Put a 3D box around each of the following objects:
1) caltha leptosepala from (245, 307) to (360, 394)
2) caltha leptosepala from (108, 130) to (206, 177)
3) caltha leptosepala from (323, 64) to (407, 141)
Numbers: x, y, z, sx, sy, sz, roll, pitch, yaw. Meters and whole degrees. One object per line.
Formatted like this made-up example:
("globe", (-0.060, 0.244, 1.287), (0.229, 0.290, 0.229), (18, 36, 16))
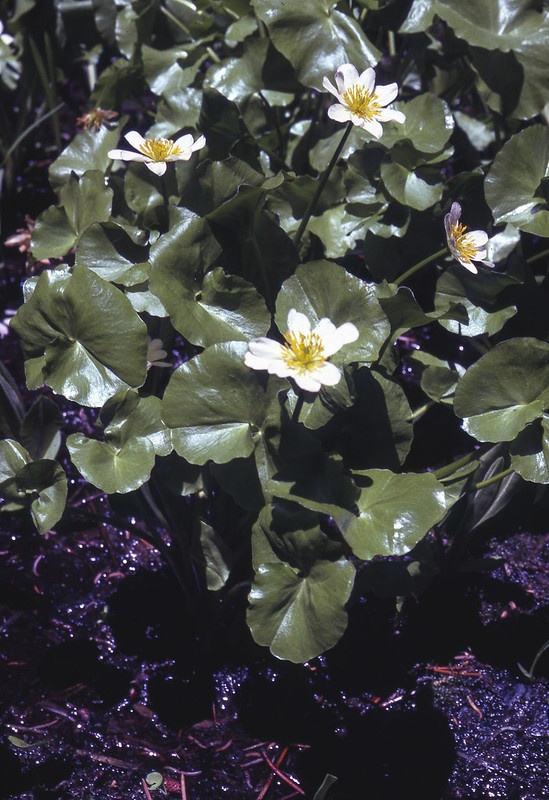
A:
("caltha leptosepala", (0.049, -0.082, 1.307), (0.163, 0.063, 0.158), (-31, 52, -17))
("caltha leptosepala", (-0.221, -0.494, 1.508), (0.164, 0.051, 0.164), (18, 34, 34))
("caltha leptosepala", (0.149, -0.581, 1.459), (0.135, 0.047, 0.126), (-10, -3, 44))
